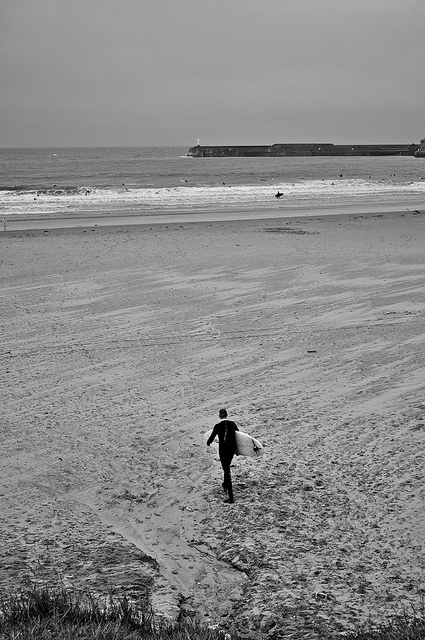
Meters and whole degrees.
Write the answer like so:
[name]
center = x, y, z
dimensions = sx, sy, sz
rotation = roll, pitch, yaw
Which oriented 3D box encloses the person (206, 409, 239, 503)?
[person]
center = 0.113, 1.363, 9.498
dimensions = 0.322, 0.839, 0.700
rotation = -2, 8, 1
